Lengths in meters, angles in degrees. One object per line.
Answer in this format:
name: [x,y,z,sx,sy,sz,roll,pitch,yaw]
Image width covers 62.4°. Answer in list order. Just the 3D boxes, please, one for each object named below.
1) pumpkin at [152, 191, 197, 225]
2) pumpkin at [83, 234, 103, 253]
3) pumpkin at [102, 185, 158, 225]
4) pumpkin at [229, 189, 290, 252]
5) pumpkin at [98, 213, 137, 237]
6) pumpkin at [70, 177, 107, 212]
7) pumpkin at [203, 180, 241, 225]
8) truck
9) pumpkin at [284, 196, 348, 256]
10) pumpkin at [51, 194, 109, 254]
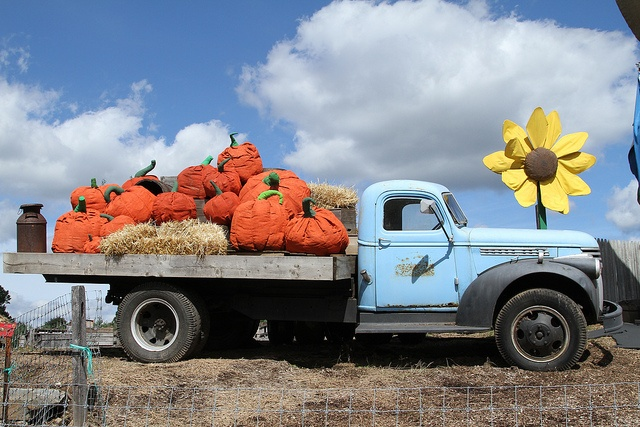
pumpkin: [-2.759,-0.044,10.157,0.640,0.673,0.652,-10,-11,29]
pumpkin: [-4.157,0.568,9.745,0.358,0.358,0.354,0,-3,-10]
pumpkin: [-3.666,-0.184,10.243,0.841,0.955,0.620,-1,-2,37]
pumpkin: [-1.073,0.181,9.535,0.939,0.984,0.918,2,-11,-1]
pumpkin: [-3.772,0.264,9.835,0.496,0.500,0.479,-23,-8,-31]
pumpkin: [-4.250,-0.262,9.788,0.591,0.615,0.601,0,-8,1]
pumpkin: [-1.815,-0.147,10.155,0.629,0.845,0.607,-14,-6,-42]
truck: [-0.178,1.168,9.185,8.714,3.680,3.624,0,0,-3]
pumpkin: [-0.074,0.200,9.070,0.983,0.890,1.001,-2,4,31]
pumpkin: [-4.346,0.305,9.667,0.864,1.164,0.827,-10,-6,1]
